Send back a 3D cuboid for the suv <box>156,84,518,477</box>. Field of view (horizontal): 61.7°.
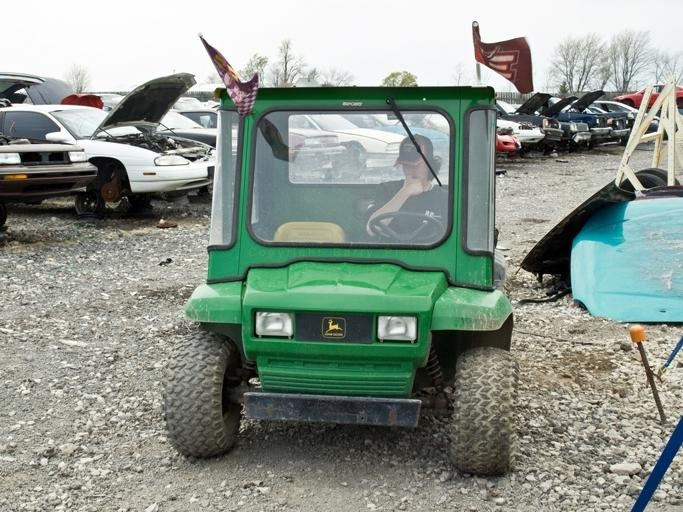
[{"bbox_3d":[0.897,-0.217,4.819,2.655,2.305,3.922,1,17,34],"label":"suv"}]

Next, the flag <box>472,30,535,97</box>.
[{"bbox_3d":[1.005,-1.238,3.591,0.383,0.428,0.316,3,18,17],"label":"flag"}]

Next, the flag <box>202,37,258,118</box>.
[{"bbox_3d":[-0.648,-1.047,3.315,0.282,0.452,0.421,5,18,23],"label":"flag"}]

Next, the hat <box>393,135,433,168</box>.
[{"bbox_3d":[0.447,-0.660,3.535,0.168,0.112,0.230,4,8,31],"label":"hat"}]

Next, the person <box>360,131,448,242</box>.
[{"bbox_3d":[0.441,-0.407,3.591,0.581,0.664,0.773,3,7,12],"label":"person"}]
